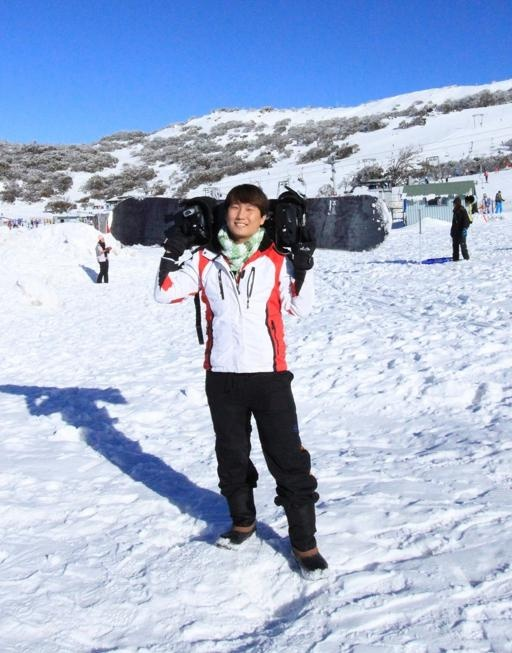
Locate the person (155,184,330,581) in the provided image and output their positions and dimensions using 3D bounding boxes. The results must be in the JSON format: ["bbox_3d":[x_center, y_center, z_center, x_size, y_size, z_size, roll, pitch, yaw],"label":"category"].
[{"bbox_3d":[-0.032,0.245,2.832,0.732,1.790,0.486,-2,13,31],"label":"person"}]

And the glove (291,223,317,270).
[{"bbox_3d":[0.222,-0.359,2.700,0.143,0.194,0.076,0,9,1],"label":"glove"}]

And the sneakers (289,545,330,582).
[{"bbox_3d":[0.243,1.079,2.707,0.113,0.101,0.166,-10,10,-14],"label":"sneakers"}]

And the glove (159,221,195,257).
[{"bbox_3d":[-0.367,-0.398,2.837,0.141,0.157,0.071,12,-15,30],"label":"glove"}]
